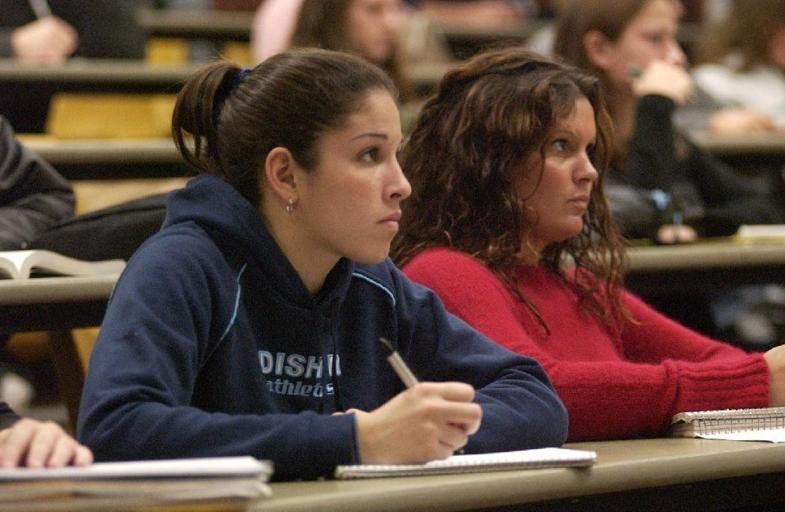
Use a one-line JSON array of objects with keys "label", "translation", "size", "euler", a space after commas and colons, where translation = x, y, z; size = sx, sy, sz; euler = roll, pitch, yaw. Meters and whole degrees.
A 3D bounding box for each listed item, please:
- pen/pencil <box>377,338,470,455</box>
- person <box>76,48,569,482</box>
[{"label": "pen/pencil", "translation": [0.028, 0.169, 1.134], "size": [0.022, 0.169, 0.024], "euler": [-18, 41, 19]}, {"label": "person", "translation": [-0.066, 0.002, 1.423], "size": [0.546, 0.795, 0.760], "euler": [-12, -15, 25]}]
